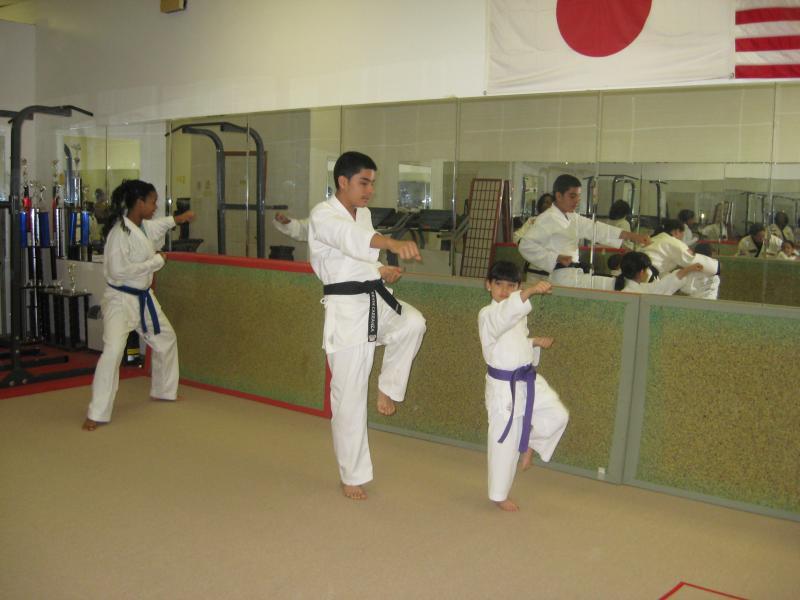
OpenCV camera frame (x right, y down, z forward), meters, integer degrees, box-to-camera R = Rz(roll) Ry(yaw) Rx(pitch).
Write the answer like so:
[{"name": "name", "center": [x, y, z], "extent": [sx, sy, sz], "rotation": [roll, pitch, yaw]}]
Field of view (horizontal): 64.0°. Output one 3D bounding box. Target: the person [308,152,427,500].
[{"name": "person", "center": [-0.160, 0.115, 3.716], "extent": [0.575, 1.887, 0.674], "rotation": [-8, 13, -37]}]

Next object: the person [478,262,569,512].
[{"name": "person", "center": [0.654, 0.447, 3.587], "extent": [0.463, 1.297, 0.440], "rotation": [-3, 11, -18]}]
